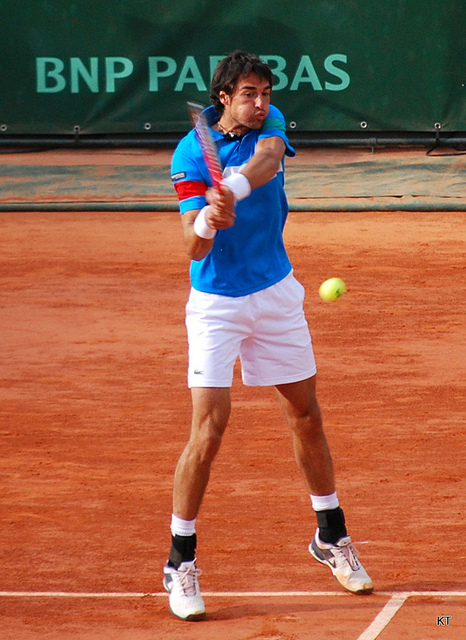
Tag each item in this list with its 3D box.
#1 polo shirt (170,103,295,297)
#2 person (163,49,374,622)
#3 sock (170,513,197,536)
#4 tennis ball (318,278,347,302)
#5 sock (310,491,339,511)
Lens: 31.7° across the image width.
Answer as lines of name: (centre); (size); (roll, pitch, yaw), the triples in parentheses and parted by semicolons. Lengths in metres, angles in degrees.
polo shirt: (0.053, -0.452, 3.059); (0.503, 0.717, 0.366); (-5, 10, -22)
person: (0.103, 0.044, 3.082); (0.817, 2.083, 0.510); (-4, 10, -15)
sock: (-0.182, 0.748, 3.021); (0.090, 0.055, 0.081); (1, 6, 3)
tennis ball: (0.663, -0.201, 5.506); (0.148, 0.153, 0.221); (1, 8, 12)
sock: (0.361, 0.709, 3.229); (0.094, 0.057, 0.086); (-6, 3, 14)
